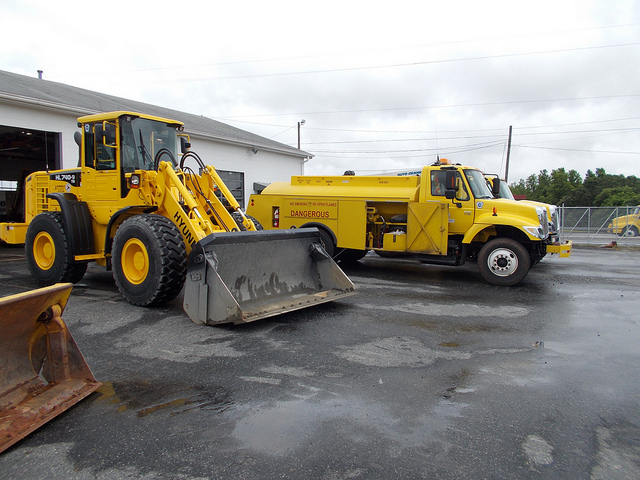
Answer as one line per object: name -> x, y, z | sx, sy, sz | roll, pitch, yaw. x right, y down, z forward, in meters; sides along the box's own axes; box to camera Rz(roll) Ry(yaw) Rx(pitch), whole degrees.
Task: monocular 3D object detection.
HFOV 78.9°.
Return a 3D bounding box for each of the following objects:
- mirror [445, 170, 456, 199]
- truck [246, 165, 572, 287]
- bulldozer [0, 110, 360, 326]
mirror -> 3.273, -1.415, 9.819 | 0.315, 0.736, 0.296 | 1, 7, -1
truck -> 1.982, -0.592, 11.866 | 8.990, 3.313, 3.621 | 2, 5, 26
bulldozer -> -3.179, -0.586, 7.974 | 6.283, 3.138, 3.296 | 2, 5, 29
